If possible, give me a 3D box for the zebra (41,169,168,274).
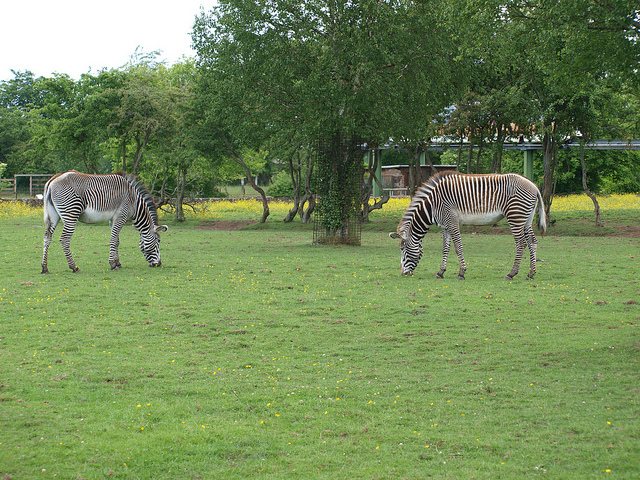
[{"bbox_3d":[-6.775,-0.574,25.414,4.193,3.189,1.195,3,-1,-37],"label":"zebra"}]
